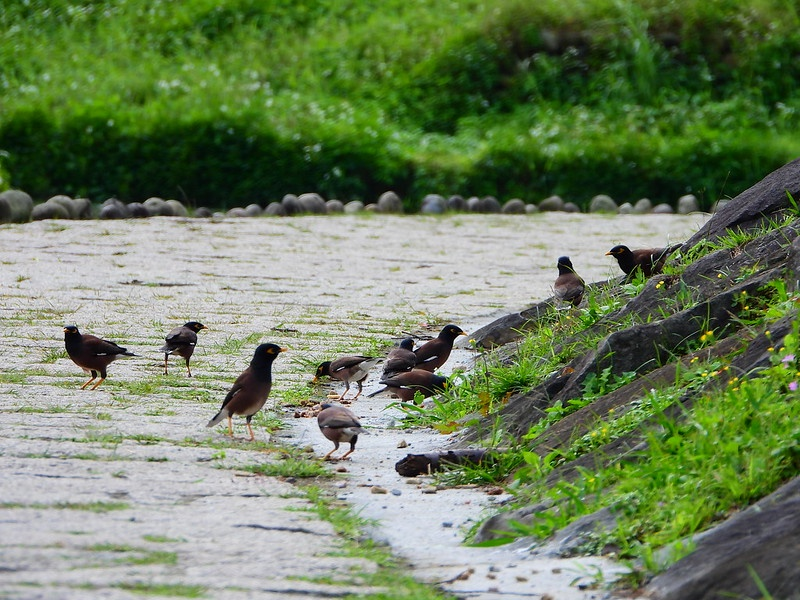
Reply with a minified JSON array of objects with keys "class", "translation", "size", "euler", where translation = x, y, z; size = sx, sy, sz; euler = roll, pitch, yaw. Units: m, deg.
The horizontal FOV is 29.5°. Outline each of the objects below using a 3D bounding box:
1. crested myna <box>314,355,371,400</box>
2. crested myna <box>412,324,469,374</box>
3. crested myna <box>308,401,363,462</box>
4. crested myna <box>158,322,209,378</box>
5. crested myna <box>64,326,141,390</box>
[{"class":"crested myna","translation":[-0.718,0.858,17.096],"size":[0.322,0.837,0.314],"euler":[-5,76,-50]},{"class":"crested myna","translation":[0.404,0.578,17.439],"size":[0.735,0.640,0.328],"euler":[2,13,9]},{"class":"crested myna","translation":[-0.611,1.307,15.736],"size":[0.379,0.616,0.809],"euler":[9,-19,-34]},{"class":"crested myna","translation":[-2.509,0.539,17.393],"size":[0.379,0.642,0.738],"euler":[6,0,24]},{"class":"crested myna","translation":[-3.410,0.634,17.090],"size":[0.375,0.724,1.020],"euler":[-1,2,35]}]
